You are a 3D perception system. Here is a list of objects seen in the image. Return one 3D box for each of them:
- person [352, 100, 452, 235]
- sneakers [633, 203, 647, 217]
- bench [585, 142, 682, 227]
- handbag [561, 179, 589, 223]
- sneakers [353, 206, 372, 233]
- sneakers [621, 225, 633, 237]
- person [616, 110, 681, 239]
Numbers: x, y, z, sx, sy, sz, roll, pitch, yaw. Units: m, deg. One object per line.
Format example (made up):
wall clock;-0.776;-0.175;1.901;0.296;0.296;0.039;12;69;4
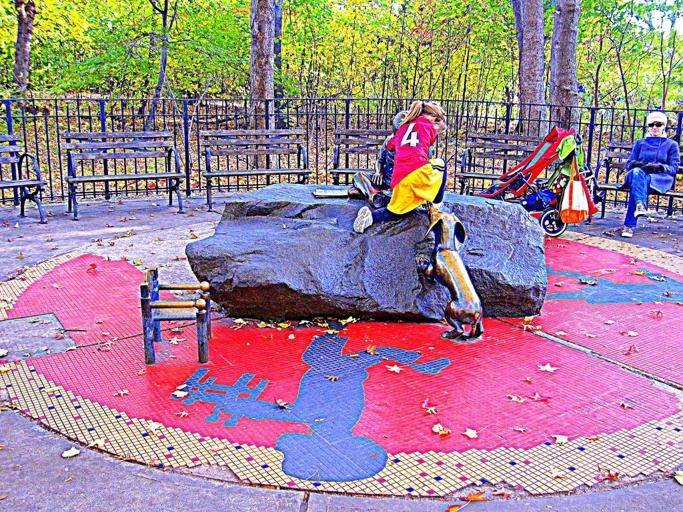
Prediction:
person;0.700;-0.988;6.162;0.889;1.478;0.438;3;9;8
sneakers;4.823;-0.754;9.057;0.163;0.220;0.213;6;9;25
bench;5.284;-1.290;10.093;1.116;1.309;2.436;-12;15;-40
handbag;3.620;-0.862;8.654;0.442;0.671;0.186;3;10;9
sneakers;0.264;-0.404;6.224;0.201;0.286;0.124;26;-2;25
sneakers;4.636;-0.392;9.102;0.150;0.140;0.410;3;2;26
person;5.237;-1.445;9.478;0.797;2.108;1.415;7;10;27
